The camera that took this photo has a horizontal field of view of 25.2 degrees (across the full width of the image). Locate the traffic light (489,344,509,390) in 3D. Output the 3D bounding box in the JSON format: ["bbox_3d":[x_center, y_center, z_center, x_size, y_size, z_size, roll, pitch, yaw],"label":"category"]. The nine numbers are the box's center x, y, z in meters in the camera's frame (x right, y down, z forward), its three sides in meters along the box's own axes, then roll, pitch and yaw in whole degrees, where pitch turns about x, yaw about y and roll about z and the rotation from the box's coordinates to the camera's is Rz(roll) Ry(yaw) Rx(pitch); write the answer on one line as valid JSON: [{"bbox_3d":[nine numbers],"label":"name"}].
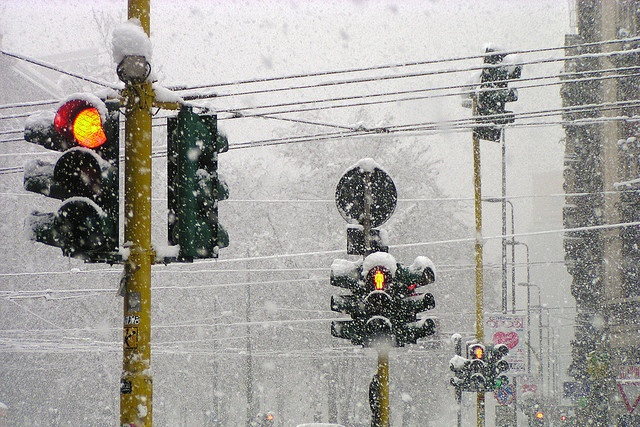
[{"bbox_3d":[10.581,9.031,85.200,1.226,2.732,0.605,-2,-14,7],"label":"traffic light"}]

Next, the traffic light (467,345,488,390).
[{"bbox_3d":[9.411,9.013,85.108,1.084,2.773,0.515,-2,-14,6],"label":"traffic light"}]
